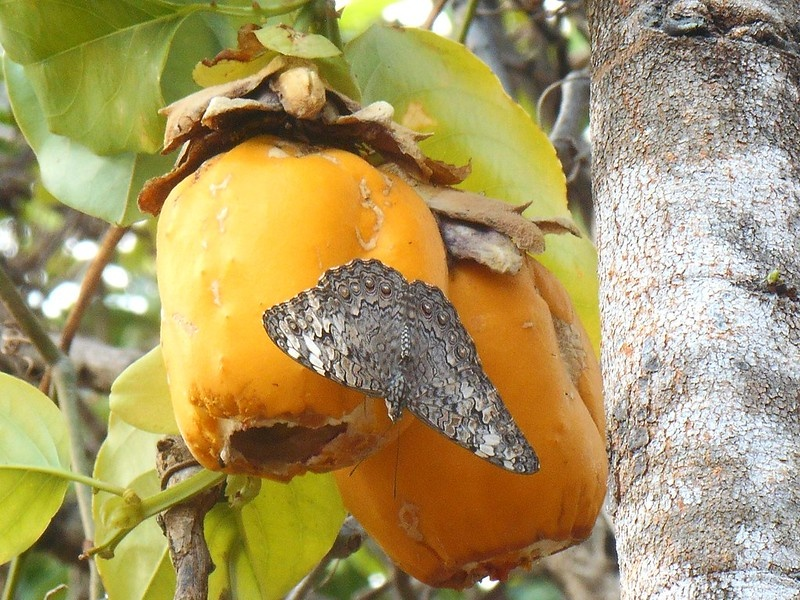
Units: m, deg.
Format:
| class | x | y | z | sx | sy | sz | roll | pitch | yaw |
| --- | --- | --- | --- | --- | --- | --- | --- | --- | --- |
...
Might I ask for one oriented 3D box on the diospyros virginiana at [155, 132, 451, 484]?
| class | x | y | z | sx | sy | sz | roll | pitch | yaw |
| --- | --- | --- | --- | --- | --- | --- | --- | --- | --- |
| diospyros virginiana | -0.189 | 0.064 | 3.621 | 0.547 | 0.546 | 0.664 | -11 | 50 | 10 |
